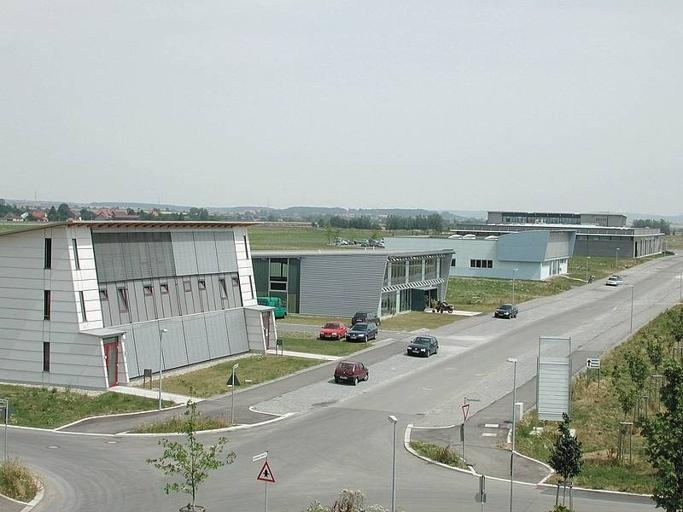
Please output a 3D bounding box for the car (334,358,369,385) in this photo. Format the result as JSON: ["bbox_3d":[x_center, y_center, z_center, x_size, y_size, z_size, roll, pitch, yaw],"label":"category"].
[{"bbox_3d":[0.643,7.136,45.992,1.170,0.994,1.946,3,9,30],"label":"car"}]

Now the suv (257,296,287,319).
[{"bbox_3d":[-6.432,4.730,69.323,1.879,1.718,3.204,2,5,39],"label":"suv"}]

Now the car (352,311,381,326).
[{"bbox_3d":[2.106,5.409,65.617,1.165,0.879,2.156,3,7,38],"label":"car"}]
